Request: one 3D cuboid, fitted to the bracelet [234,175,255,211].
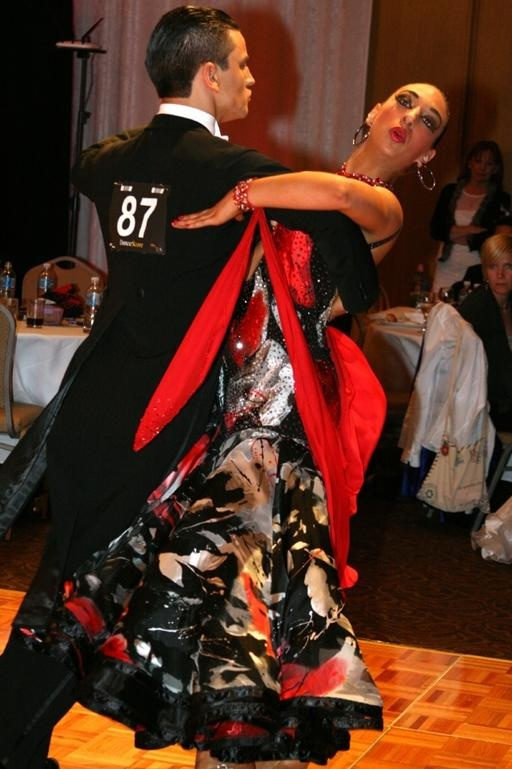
[{"bbox_3d":[-0.018,-0.239,0.803,0.012,0.028,0.033,1,50,-16],"label":"bracelet"}]

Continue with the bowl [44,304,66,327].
[{"bbox_3d":[-1.192,-0.401,3.734,0.119,0.086,0.116,1,7,0],"label":"bowl"}]

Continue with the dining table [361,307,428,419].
[{"bbox_3d":[0.927,-0.172,4.351,0.661,0.617,0.637,-1,18,-8],"label":"dining table"}]

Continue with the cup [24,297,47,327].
[{"bbox_3d":[-1.248,-0.404,3.667,0.151,0.149,0.136,-2,-1,23],"label":"cup"}]
